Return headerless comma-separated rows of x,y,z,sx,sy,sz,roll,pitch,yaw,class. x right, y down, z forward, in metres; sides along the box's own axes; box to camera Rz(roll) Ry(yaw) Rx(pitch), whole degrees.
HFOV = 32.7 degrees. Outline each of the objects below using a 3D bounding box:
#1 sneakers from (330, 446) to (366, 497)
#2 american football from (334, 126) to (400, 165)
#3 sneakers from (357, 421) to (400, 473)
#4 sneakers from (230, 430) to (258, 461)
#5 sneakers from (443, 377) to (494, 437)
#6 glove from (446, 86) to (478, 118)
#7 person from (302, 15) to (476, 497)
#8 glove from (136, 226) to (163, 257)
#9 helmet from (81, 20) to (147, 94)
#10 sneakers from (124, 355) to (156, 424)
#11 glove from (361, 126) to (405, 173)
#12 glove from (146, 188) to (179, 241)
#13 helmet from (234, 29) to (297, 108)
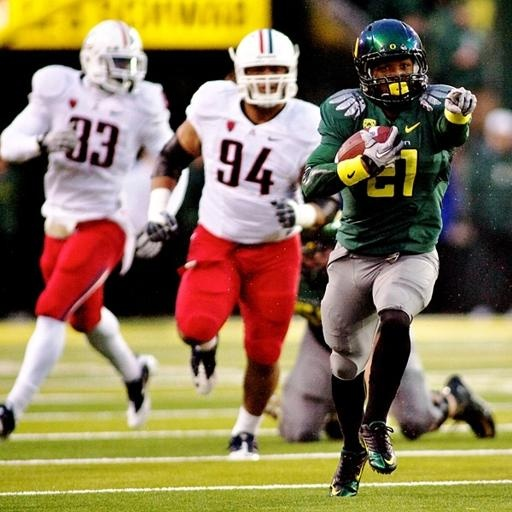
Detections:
0.302,0.701,2.834,0.067,0.190,0.081,12,-8,23,sneakers
0.356,-0.350,2.661,0.095,0.060,0.124,-6,-23,20,american football
0.392,0.550,2.685,0.077,0.088,0.192,-9,54,-16,sneakers
-0.053,0.782,3.618,0.083,0.126,0.130,1,-18,-1,sneakers
1.059,0.751,4.273,0.353,0.120,0.166,50,25,20,sneakers
0.612,-0.466,2.614,0.071,0.042,0.094,1,31,11,glove
0.359,0.036,2.803,0.499,1.551,0.648,10,17,15,person
-0.469,-0.058,3.706,0.103,0.125,0.123,6,15,17,glove
-0.554,-0.867,3.830,0.283,0.313,0.354,2,7,-42,helmet
-0.573,0.639,4.302,0.123,0.341,0.163,2,-12,11,sneakers
0.361,-0.312,2.552,0.153,0.108,0.072,-9,2,43,glove
-0.386,-0.164,3.555,0.121,0.205,0.296,3,16,-7,glove
0.041,-0.773,3.627,0.281,0.261,0.332,-2,2,-4,helmet
